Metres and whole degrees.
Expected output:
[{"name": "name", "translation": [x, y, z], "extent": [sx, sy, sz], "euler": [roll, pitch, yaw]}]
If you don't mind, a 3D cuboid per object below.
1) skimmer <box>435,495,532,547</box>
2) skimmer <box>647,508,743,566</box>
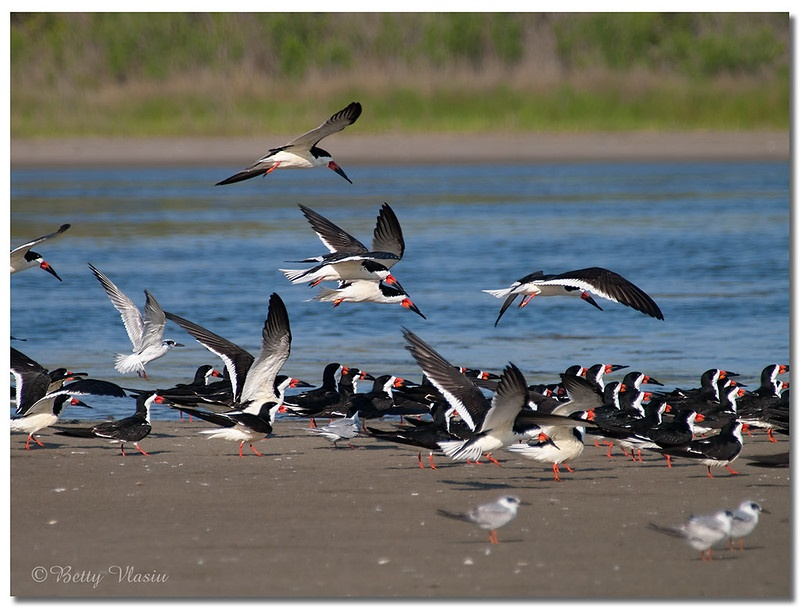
[{"name": "skimmer", "translation": [1.369, 3.644, 23.601], "extent": [1.293, 0.799, 1.350], "euler": [-1, -1, 3]}, {"name": "skimmer", "translation": [4.857, 3.860, 23.278], "extent": [1.241, 0.828, 0.568], "euler": [0, -1, -19]}]
